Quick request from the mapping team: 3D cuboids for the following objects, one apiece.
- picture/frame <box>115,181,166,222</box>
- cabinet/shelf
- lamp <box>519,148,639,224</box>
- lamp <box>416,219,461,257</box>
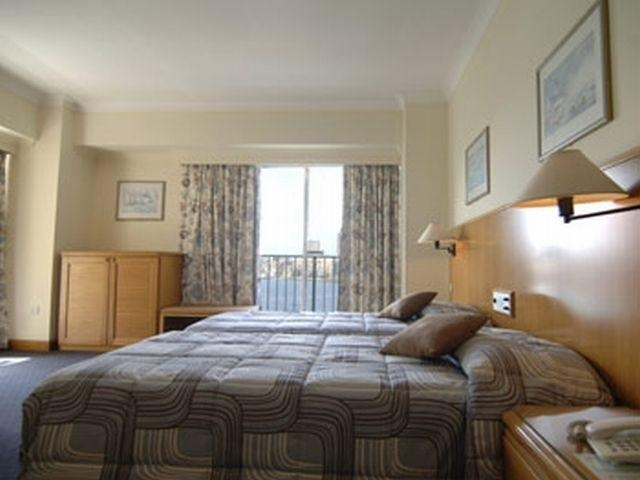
[{"bbox_3d":[-2.267,-0.468,6.068,0.515,0.441,0.040,0,-5,-4],"label":"picture/frame"},{"bbox_3d":[-2.218,0.671,5.197,1.139,1.065,0.453,0,-5,1],"label":"cabinet/shelf"},{"bbox_3d":[1.193,-0.216,2.248,0.375,0.264,0.429,-4,2,-32],"label":"lamp"},{"bbox_3d":[1.159,-0.019,4.669,0.359,0.340,0.386,-11,-6,18],"label":"lamp"}]
